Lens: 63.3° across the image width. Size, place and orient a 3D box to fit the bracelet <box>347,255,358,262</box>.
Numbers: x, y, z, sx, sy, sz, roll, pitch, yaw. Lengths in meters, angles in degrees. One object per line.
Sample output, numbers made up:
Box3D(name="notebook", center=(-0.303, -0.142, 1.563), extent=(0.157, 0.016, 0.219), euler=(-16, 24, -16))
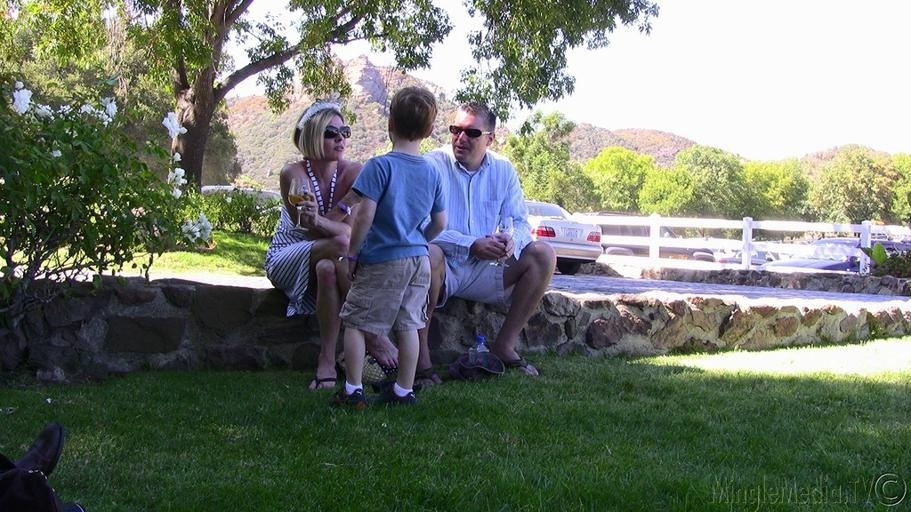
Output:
Box3D(name="bracelet", center=(-0.886, 0.015, 6.457), extent=(0.079, 0.048, 0.067), euler=(2, -2, -9))

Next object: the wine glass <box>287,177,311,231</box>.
Box3D(name="wine glass", center=(-1.417, -0.505, 6.752), extent=(0.181, 0.485, 0.186), euler=(3, -2, -17))

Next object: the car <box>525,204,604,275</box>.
Box3D(name="car", center=(2.149, -0.409, 14.985), extent=(1.033, 0.829, 2.451), euler=(0, 5, -12))

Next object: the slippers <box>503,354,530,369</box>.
Box3D(name="slippers", center=(0.618, 1.036, 7.348), extent=(0.206, 0.059, 0.119), euler=(-1, 3, 25))

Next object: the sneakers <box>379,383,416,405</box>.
Box3D(name="sneakers", center=(-0.525, 1.221, 6.548), extent=(0.339, 0.158, 0.140), euler=(7, 3, 28))

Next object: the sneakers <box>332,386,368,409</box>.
Box3D(name="sneakers", center=(-0.909, 1.216, 6.429), extent=(0.302, 0.138, 0.142), euler=(1, 1, 21))

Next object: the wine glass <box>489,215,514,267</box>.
Box3D(name="wine glass", center=(0.502, -0.191, 7.387), extent=(0.198, 0.466, 0.389), euler=(2, -2, 3))

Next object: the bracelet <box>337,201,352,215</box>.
Box3D(name="bracelet", center=(-1.045, -0.464, 6.996), extent=(0.110, 0.041, 0.115), euler=(42, -14, 10))

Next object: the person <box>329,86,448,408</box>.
Box3D(name="person", center=(-0.526, -0.125, 6.527), extent=(0.891, 2.773, 0.371), euler=(2, -2, -8))

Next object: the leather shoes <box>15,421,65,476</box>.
Box3D(name="leather shoes", center=(-2.974, 1.376, 5.287), extent=(0.122, 0.345, 0.206), euler=(22, -19, 1))
